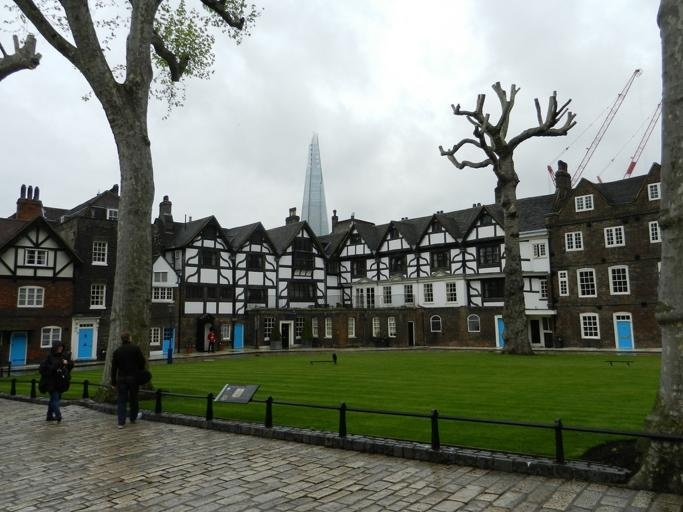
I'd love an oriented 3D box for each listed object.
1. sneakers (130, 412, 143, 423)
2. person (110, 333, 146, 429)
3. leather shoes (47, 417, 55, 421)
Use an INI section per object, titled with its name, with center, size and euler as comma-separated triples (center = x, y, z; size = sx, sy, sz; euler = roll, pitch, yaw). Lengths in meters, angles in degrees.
[sneakers]
center = -5.542, 4.423, 14.340
size = 0.149, 0.244, 0.151
euler = 1, -18, 17
[person]
center = -5.574, 3.237, 13.845
size = 0.807, 2.394, 0.708
euler = -1, -2, -30
[leather shoes]
center = -7.978, 4.460, 14.402
size = 0.161, 0.123, 0.186
euler = -2, -2, -28
